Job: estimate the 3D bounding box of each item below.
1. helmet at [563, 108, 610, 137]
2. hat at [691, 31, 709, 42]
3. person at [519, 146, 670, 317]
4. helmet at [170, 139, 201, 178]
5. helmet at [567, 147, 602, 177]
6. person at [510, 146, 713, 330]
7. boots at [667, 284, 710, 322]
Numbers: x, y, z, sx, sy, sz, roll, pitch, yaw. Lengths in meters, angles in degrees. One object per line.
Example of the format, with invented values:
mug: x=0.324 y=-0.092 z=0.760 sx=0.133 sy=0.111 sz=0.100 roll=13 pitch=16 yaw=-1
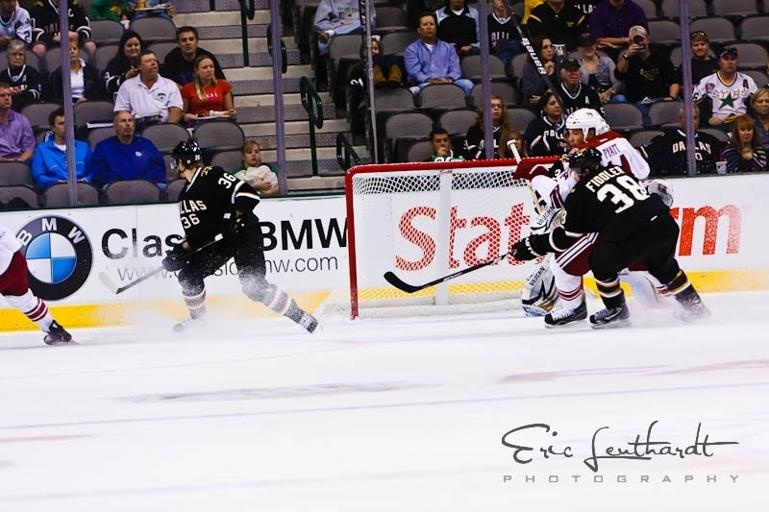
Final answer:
helmet: x=1.620 y=-1.083 z=8.024 sx=0.310 sy=0.226 sz=0.218 roll=-2 pitch=19 yaw=-1
hat: x=3.137 y=-2.167 z=9.892 sx=0.123 sy=0.082 sz=0.126 roll=6 pitch=6 yaw=40
person: x=1.628 y=-0.237 z=8.691 sx=1.515 sy=1.743 sz=1.057 roll=6 pitch=18 yaw=14
helmet: x=-1.670 y=-0.821 z=8.337 sx=0.258 sy=0.270 sz=0.319 roll=-5 pitch=19 yaw=-21
helmet: x=1.529 y=-0.705 z=7.746 sx=0.252 sy=0.186 sz=0.220 roll=11 pitch=-6 yaw=3
person: x=1.830 y=-0.287 z=8.352 sx=1.688 sy=1.441 sz=1.053 roll=9 pitch=17 yaw=36
boots: x=2.383 y=0.406 z=7.814 sx=0.178 sy=0.179 sz=0.408 roll=-36 pitch=-15 yaw=-2
